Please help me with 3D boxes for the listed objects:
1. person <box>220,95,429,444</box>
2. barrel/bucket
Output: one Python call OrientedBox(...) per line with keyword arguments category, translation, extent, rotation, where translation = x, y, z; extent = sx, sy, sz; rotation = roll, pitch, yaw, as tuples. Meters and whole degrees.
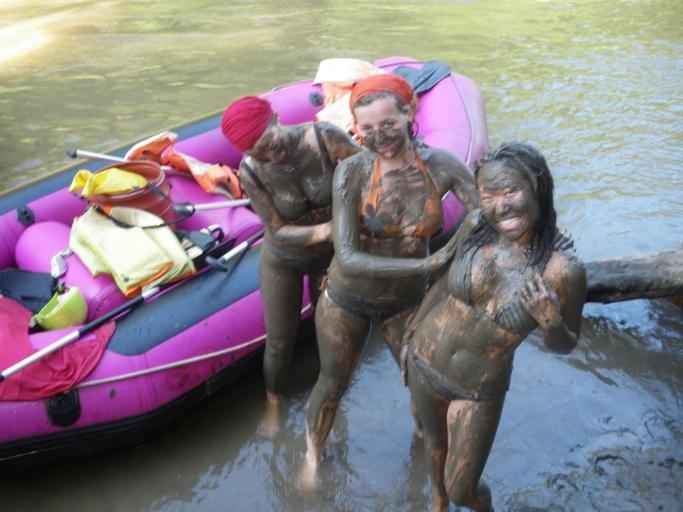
OrientedBox(category="person", translation=(-0.228, 0.165, 5.348), extent=(1.165, 3.189, 0.850), rotation=(-7, 36, -7))
OrientedBox(category="barrel/bucket", translation=(-2.029, -0.616, 6.366), extent=(0.657, 0.770, 0.669), rotation=(-7, 36, 5))
